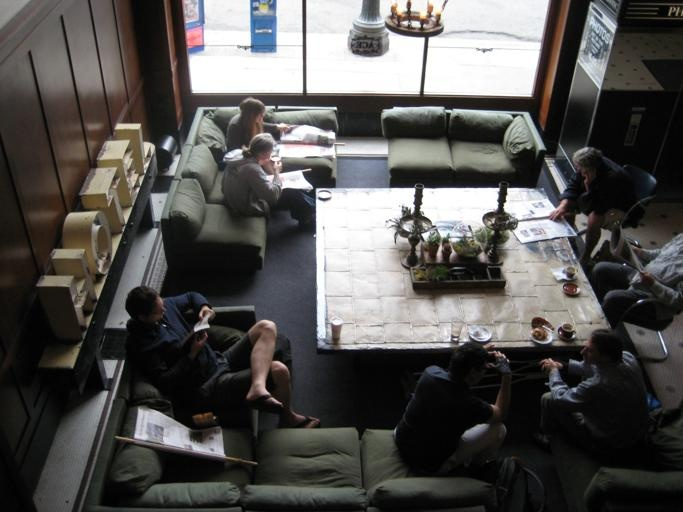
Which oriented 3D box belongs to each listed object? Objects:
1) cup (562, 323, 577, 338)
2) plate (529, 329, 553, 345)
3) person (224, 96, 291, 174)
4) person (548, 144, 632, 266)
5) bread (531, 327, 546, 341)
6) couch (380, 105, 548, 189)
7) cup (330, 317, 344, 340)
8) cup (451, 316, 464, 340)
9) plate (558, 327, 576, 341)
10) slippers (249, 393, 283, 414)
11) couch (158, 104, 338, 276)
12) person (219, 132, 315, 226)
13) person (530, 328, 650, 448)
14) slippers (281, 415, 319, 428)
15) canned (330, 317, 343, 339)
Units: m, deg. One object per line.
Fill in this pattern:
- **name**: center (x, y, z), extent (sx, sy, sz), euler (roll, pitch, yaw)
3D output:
- **cup**: center (1.964, 0.641, 4.437), extent (0.109, 0.080, 0.088), euler (-3, 55, 3)
- **plate**: center (1.728, 0.693, 4.392), extent (0.130, 0.050, 0.137), euler (3, 40, 9)
- **person**: center (-1.047, -1.588, 6.453), extent (0.726, 0.782, 0.621), euler (-5, 54, -18)
- **person**: center (2.847, -0.584, 5.750), extent (0.854, 1.276, 0.699), euler (-24, 32, -28)
- **bread**: center (1.711, 0.676, 4.403), extent (0.105, 0.033, 0.110), euler (-6, 48, 5)
- **couch**: center (1.565, -1.450, 6.788), extent (1.947, 0.980, 0.896), euler (-1, 18, 2)
- **cup**: center (-0.044, 0.626, 4.379), extent (0.128, 0.219, 0.162), euler (0, 45, 0)
- **cup**: center (0.993, 0.626, 4.387), extent (0.132, 0.162, 0.104), euler (4, 43, 1)
- **plate**: center (1.946, 0.671, 4.424), extent (0.130, 0.094, 0.103), euler (2, 65, 10)
- **slippers**: center (-0.553, 1.073, 3.765), extent (0.232, 0.128, 0.086), euler (4, 18, -2)
- **couch**: center (-1.225, -0.981, 6.299), extent (1.895, 0.915, 2.778), euler (15, 46, 18)
- **person**: center (-0.737, -0.862, 6.019), extent (1.178, 1.276, 0.667), euler (-15, 37, -25)
- **person**: center (1.897, 1.039, 3.971), extent (0.367, 0.808, 0.572), euler (-45, 49, -16)
- **slippers**: center (-0.328, 1.339, 4.167), extent (0.290, 0.079, 0.118), euler (2, 39, -9)
- **canned**: center (-0.042, 0.619, 4.363), extent (0.142, 0.211, 0.148), euler (2, 43, 0)
